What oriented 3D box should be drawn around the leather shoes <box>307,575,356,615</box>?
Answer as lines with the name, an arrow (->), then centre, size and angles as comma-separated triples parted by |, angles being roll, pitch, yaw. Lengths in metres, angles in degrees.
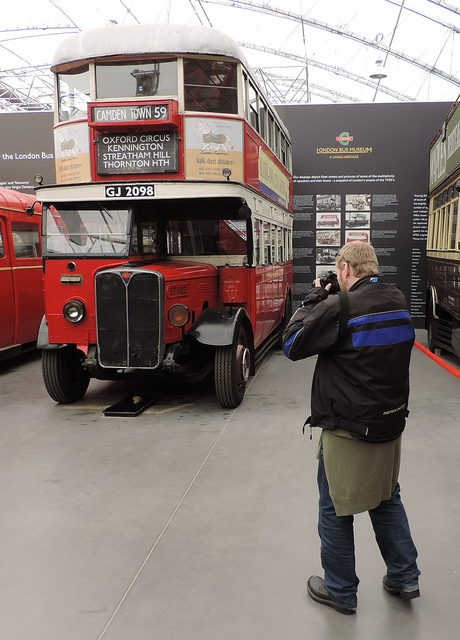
leather shoes -> 0.467, 1.273, 2.147 | 0.086, 0.086, 0.211 | -14, 28, -29

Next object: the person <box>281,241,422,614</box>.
person -> 0.548, 0.500, 2.036 | 0.583, 1.703, 0.431 | -5, 7, -36
